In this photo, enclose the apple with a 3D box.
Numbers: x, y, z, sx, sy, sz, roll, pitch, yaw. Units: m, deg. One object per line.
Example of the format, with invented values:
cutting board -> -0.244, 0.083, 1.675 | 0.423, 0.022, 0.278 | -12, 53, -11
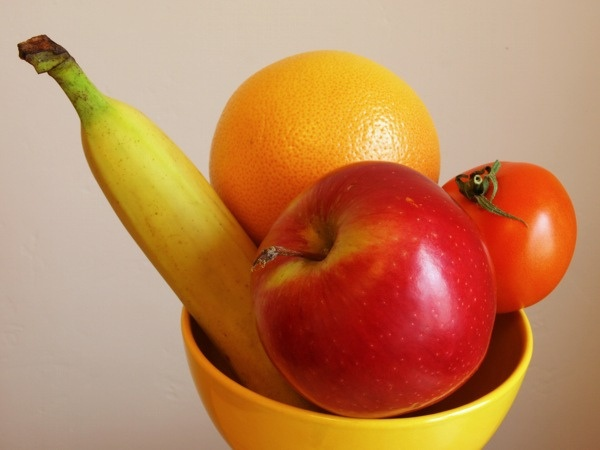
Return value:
apple -> 0.080, 0.064, 0.740 | 0.251, 0.275, 0.250 | -23, -1, 37
